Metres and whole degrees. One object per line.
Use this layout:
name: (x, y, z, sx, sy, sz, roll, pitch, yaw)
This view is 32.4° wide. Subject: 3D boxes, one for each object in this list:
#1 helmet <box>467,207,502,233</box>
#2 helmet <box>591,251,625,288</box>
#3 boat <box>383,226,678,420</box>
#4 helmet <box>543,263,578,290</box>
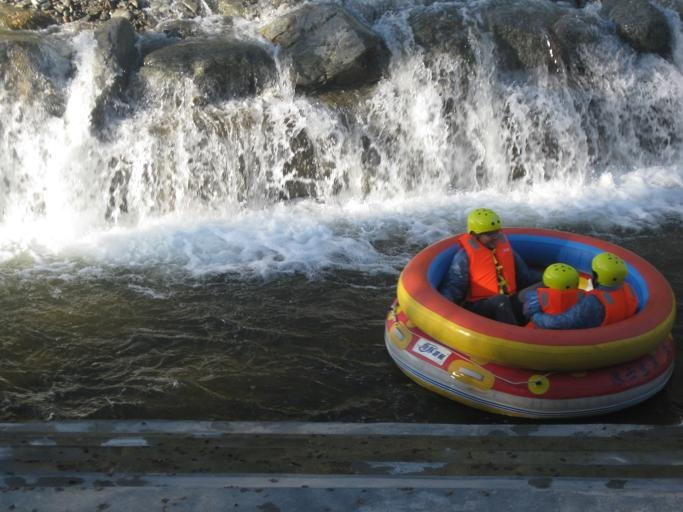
helmet: (2.456, -0.560, 20.048, 0.428, 0.367, 0.509, -27, 40, -19)
helmet: (4.345, 0.232, 19.102, 0.537, 0.517, 0.588, 0, 35, -2)
boat: (3.216, 1.466, 19.383, 4.025, 1.264, 3.583, 0, 27, 11)
helmet: (3.595, 0.321, 19.108, 0.529, 0.299, 0.446, -4, 32, -6)
